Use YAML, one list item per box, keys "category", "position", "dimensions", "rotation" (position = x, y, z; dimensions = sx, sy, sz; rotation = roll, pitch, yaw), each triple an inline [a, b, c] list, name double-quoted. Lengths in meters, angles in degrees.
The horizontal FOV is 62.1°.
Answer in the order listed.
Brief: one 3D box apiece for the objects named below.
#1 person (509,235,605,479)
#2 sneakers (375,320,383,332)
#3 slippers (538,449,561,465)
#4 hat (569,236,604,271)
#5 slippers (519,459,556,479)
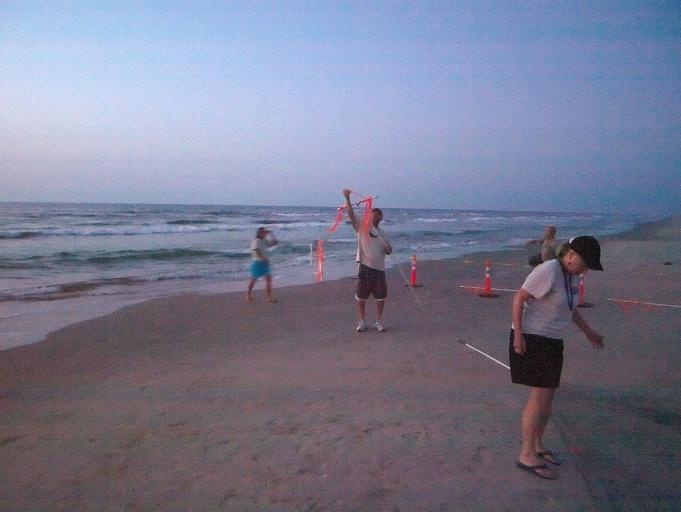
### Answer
- category: "person"
  position: [1.876, 0.871, 5.036]
  dimensions: [0.686, 2.096, 0.519]
  rotation: [1, 12, 8]
- category: "sneakers"
  position: [0.654, 1.141, 9.431]
  dimensions: [0.074, 0.151, 0.217]
  rotation: [-1, 14, 4]
- category: "slippers"
  position: [1.934, 1.849, 5.222]
  dimensions: [0.091, 0.064, 0.241]
  rotation: [-2, 18, -39]
- category: "hat"
  position: [2.166, -0.023, 5.028]
  dimensions: [0.268, 0.345, 0.515]
  rotation: [4, 12, 22]
- category: "slippers"
  position: [1.763, 1.899, 5.082]
  dimensions: [0.238, 0.057, 0.119]
  rotation: [3, 7, 40]
